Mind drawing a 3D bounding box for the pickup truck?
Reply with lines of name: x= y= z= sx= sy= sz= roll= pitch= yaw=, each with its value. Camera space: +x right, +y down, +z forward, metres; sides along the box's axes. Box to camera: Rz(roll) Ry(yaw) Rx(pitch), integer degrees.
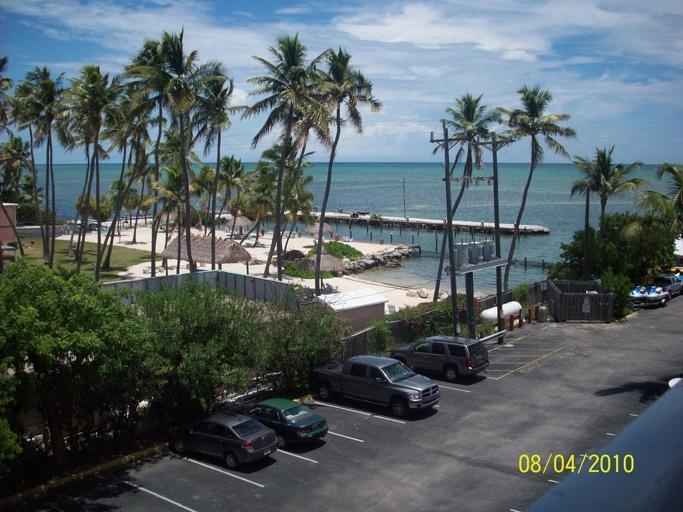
pickup truck: x=1.570 y=5.378 z=26.875 sx=5.000 sy=1.956 sz=2.206 roll=2 pitch=6 yaw=33
